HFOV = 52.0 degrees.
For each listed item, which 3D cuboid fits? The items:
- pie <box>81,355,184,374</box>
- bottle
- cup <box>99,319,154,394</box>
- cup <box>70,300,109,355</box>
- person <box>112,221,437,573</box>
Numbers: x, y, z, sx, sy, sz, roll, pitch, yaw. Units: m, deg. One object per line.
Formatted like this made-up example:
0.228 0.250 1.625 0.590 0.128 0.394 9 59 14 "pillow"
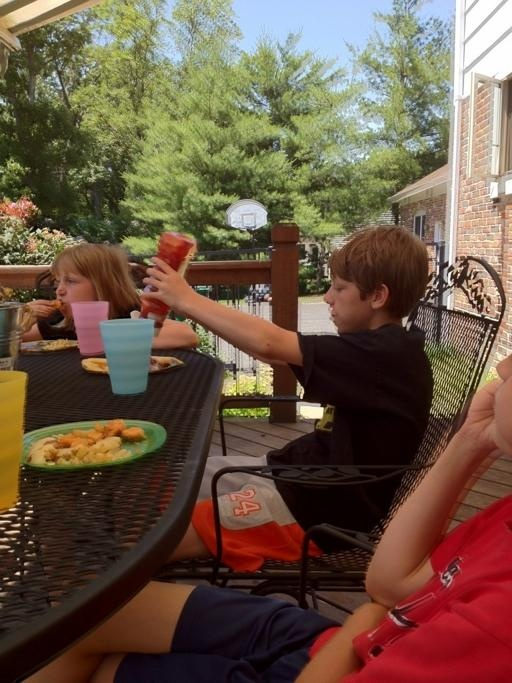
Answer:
-0.322 0.046 1.396 0.215 0.045 0.193 -4 5 -41 "pie"
-0.203 -0.132 1.220 0.102 0.218 0.125 4 5 1 "bottle"
-0.292 0.029 1.162 0.122 0.158 0.104 1 5 -18 "cup"
-0.450 -0.039 1.529 0.102 0.205 0.138 -4 11 -41 "cup"
-0.024 0.191 1.399 1.007 0.949 0.599 -1 -3 3 "person"
